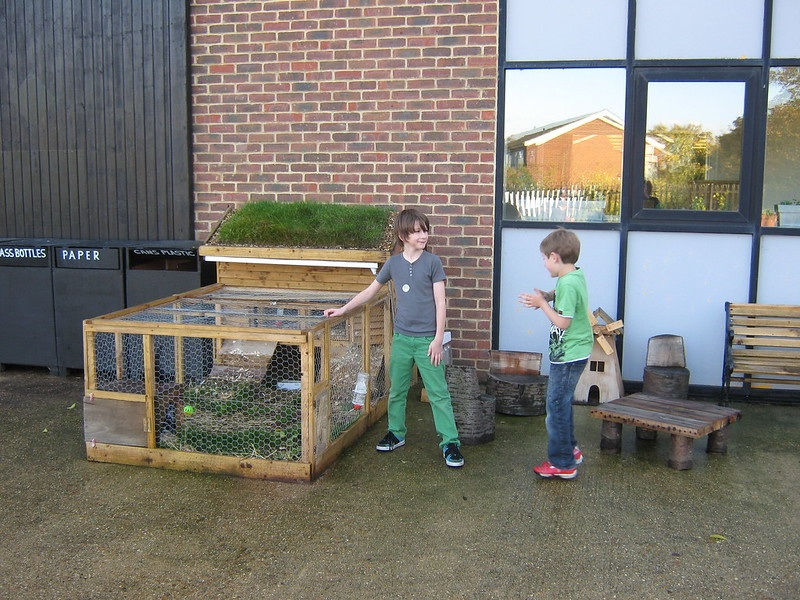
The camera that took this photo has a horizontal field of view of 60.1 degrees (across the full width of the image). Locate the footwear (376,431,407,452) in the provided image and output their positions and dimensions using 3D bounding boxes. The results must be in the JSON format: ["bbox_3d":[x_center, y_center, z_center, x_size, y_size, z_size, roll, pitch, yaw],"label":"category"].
[{"bbox_3d":[-0.066,1.210,5.834,0.108,0.124,0.279,-2,-6,30],"label":"footwear"}]

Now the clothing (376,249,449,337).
[{"bbox_3d":[0.094,-0.039,5.590,0.586,0.642,0.243,-1,8,13],"label":"clothing"}]

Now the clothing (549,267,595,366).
[{"bbox_3d":[1.271,0.136,5.068,0.314,0.697,0.283,0,14,0],"label":"clothing"}]

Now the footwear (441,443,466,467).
[{"bbox_3d":[0.440,1.253,5.528,0.099,0.110,0.247,0,-2,-6],"label":"footwear"}]

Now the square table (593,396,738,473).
[{"bbox_3d":[2.228,1.089,5.860,1.031,0.380,0.731,8,16,31],"label":"square table"}]

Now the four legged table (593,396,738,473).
[{"bbox_3d":[2.224,1.089,5.858,1.015,0.380,0.741,9,16,32],"label":"four legged table"}]

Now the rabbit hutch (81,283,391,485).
[{"bbox_3d":[-1.357,0.639,6.000,2.094,1.215,1.573,3,14,12],"label":"rabbit hutch"}]

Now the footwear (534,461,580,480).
[{"bbox_3d":[1.196,1.323,5.346,0.350,0.157,0.124,4,7,4],"label":"footwear"}]
